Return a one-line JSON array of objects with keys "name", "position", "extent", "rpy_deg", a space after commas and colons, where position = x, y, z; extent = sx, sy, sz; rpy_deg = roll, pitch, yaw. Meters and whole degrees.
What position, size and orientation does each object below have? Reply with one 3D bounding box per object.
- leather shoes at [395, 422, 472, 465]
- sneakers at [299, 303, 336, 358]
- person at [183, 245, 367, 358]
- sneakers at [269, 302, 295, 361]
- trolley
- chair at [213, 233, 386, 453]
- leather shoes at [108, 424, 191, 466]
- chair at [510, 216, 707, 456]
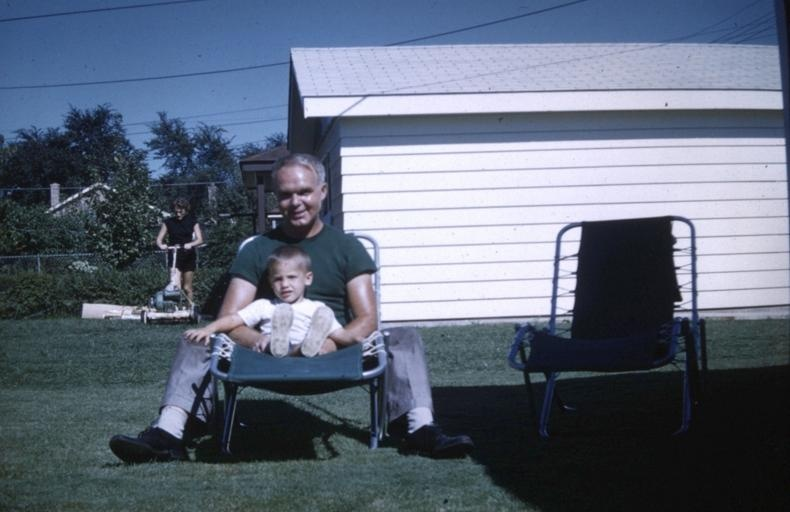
[{"name": "leather shoes", "position": [0.314, 1.516, 6.579], "extent": [0.490, 0.263, 0.280], "rpy_deg": [-17, -35, 36]}, {"name": "sneakers", "position": [-0.615, 0.606, 6.678], "extent": [0.192, 0.444, 0.187], "rpy_deg": [25, -13, -3]}, {"name": "person", "position": [-0.838, 0.398, 6.635], "extent": [1.406, 0.927, 0.947], "rpy_deg": [-1, -3, 27]}, {"name": "sneakers", "position": [-0.898, 0.597, 6.570], "extent": [0.168, 0.426, 0.151], "rpy_deg": [8, -6, -1]}, {"name": "trolley", "position": [-3.266, 0.374, 12.132], "extent": [0.766, 0.923, 1.525], "rpy_deg": [-1, 12, -8]}, {"name": "chair", "position": [-0.769, 0.630, 7.229], "extent": [1.431, 1.862, 1.990], "rpy_deg": [0, 2, 3]}, {"name": "leather shoes", "position": [-1.913, 1.505, 6.432], "extent": [0.596, 0.294, 0.255], "rpy_deg": [15, -20, -16]}, {"name": "chair", "position": [1.874, 0.569, 7.229], "extent": [1.930, 1.939, 1.553], "rpy_deg": [2, -5, -42]}]
